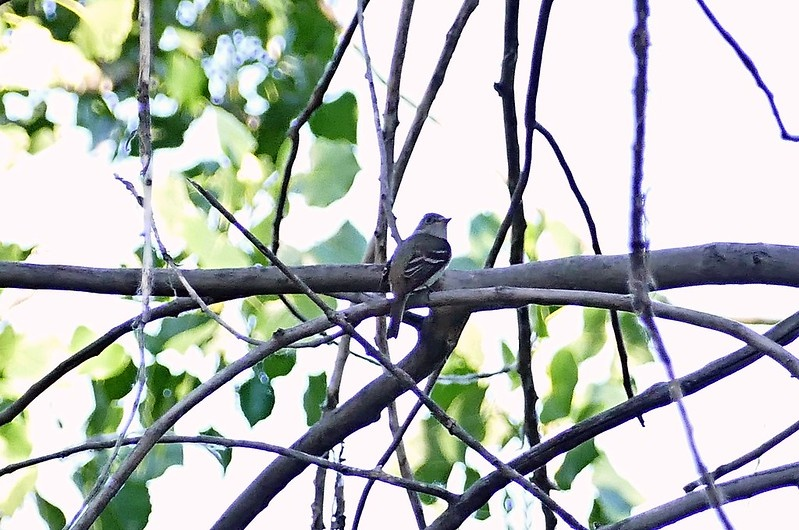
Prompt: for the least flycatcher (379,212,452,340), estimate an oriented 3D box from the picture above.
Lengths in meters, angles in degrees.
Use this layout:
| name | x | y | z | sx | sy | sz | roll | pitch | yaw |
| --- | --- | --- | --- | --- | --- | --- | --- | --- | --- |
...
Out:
| name | x | y | z | sx | sy | sz | roll | pitch | yaw |
| --- | --- | --- | --- | --- | --- | --- | --- | --- | --- |
| least flycatcher | 0.257 | -0.003 | 5.551 | 0.271 | 0.643 | 0.771 | 6 | -105 | -5 |
